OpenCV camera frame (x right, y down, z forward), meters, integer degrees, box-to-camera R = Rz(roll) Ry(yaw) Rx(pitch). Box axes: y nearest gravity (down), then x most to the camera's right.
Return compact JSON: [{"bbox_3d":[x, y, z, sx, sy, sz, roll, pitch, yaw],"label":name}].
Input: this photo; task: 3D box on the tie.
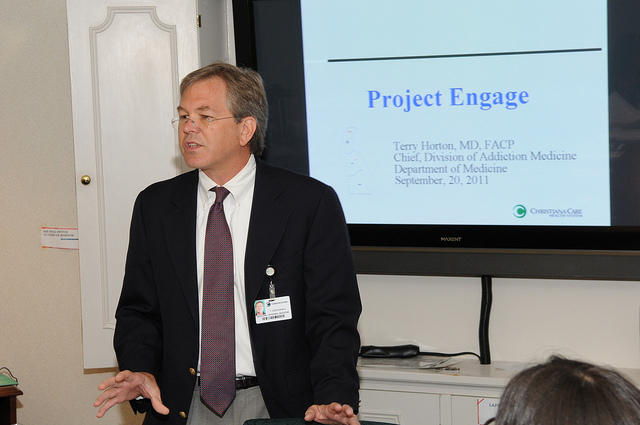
[{"bbox_3d":[-0.420,0.379,2.528,0.136,0.882,0.095,0,-3,-3],"label":"tie"}]
